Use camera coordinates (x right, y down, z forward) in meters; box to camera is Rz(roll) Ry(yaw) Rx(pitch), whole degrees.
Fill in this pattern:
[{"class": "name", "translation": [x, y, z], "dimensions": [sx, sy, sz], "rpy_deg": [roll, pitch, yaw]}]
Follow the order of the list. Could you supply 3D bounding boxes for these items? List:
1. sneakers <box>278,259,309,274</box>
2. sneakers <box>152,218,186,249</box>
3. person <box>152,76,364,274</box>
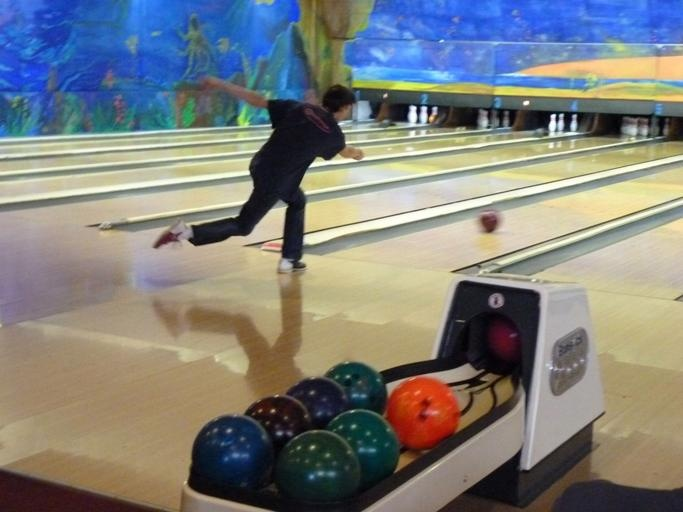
[{"class": "sneakers", "translation": [-0.277, 0.060, 2.692], "dimensions": [0.175, 0.058, 0.074], "rpy_deg": [-4, 11, -34]}, {"class": "sneakers", "translation": [-0.953, -0.130, 2.639], "dimensions": [0.207, 0.060, 0.145], "rpy_deg": [-20, 0, 13]}, {"class": "person", "translation": [-0.500, -0.459, 2.696], "dimensions": [1.378, 1.026, 0.580], "rpy_deg": [-8, 27, -40]}]
